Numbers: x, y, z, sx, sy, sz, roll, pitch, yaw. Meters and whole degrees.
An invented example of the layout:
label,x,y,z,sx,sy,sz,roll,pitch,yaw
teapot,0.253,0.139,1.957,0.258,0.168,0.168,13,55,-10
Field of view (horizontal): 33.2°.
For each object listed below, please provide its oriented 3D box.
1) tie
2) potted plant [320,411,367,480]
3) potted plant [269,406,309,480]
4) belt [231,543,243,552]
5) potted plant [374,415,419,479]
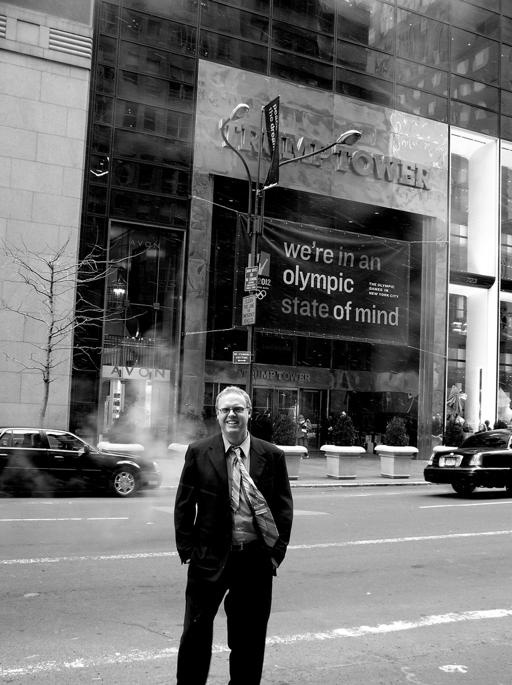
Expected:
label,x,y,z,sx,sy,sz,roll,pitch,yaw
tie,-0.018,0.792,4.305,0.160,0.520,0.078,-19,-26,-18
potted plant,2.064,2.406,20.597,1.321,1.740,1.183,-2,-3,18
potted plant,0.554,2.313,19.759,1.243,1.575,1.025,5,-14,-21
belt,-0.091,1.013,4.245,0.059,0.038,0.032,2,-13,-5
potted plant,3.512,2.616,21.586,0.839,1.515,0.986,1,-3,8
